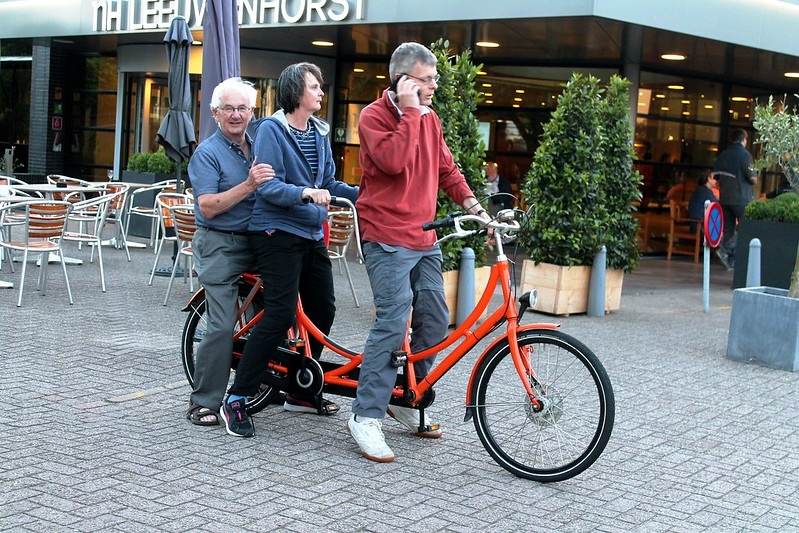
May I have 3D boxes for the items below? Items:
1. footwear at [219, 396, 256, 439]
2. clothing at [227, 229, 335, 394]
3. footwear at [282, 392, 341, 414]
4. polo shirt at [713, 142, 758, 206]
[{"bbox_3d":[-1.181,1.056,5.231,0.370,0.168,0.161,44,27,29],"label":"footwear"},{"bbox_3d":[-0.775,0.275,5.411,0.685,1.510,0.429,14,-28,-15],"label":"clothing"},{"bbox_3d":[-0.706,1.098,5.705,0.478,0.184,0.169,3,3,0],"label":"footwear"},{"bbox_3d":[6.999,-1.926,14.913,0.765,1.287,0.388,8,11,22],"label":"polo shirt"}]
